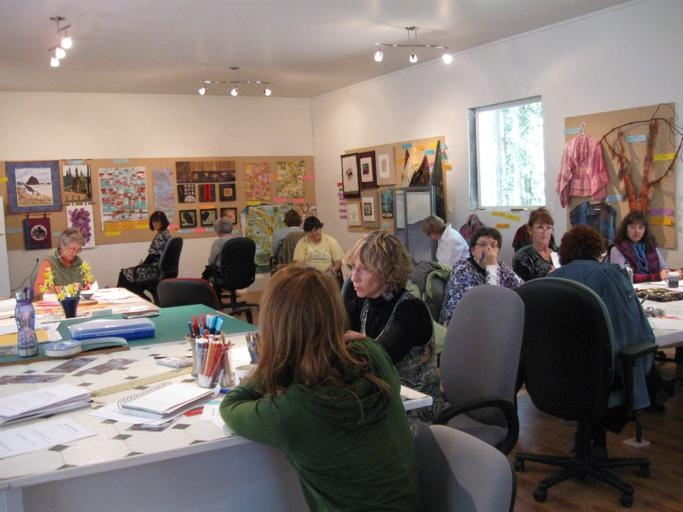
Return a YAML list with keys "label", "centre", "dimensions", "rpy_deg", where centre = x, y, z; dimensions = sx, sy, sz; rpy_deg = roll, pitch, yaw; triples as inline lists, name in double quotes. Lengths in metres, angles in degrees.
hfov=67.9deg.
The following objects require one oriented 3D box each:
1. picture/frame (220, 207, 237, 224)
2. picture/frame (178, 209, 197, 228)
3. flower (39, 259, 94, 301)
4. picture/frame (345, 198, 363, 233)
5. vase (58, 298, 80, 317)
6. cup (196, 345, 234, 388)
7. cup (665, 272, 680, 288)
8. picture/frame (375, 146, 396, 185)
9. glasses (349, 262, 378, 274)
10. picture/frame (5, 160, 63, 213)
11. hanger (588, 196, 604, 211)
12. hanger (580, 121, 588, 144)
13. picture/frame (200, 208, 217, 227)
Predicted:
- label: "picture/frame"
  centre: [-1.805, -0.643, 8.088]
  dimensions: [0.373, 0.370, 0.024]
  rpy_deg: [0, 3, -27]
- label: "picture/frame"
  centre: [-2.492, -0.608, 8.195]
  dimensions: [0.285, 0.305, 0.031]
  rpy_deg: [-4, 7, -31]
- label: "flower"
  centre: [-2.177, 0.199, 4.007]
  dimensions: [0.315, 0.245, 0.159]
  rpy_deg: [-5, 2, -43]
- label: "picture/frame"
  centre: [0.215, -0.663, 8.181]
  dimensions: [0.096, 0.643, 0.564]
  rpy_deg: [-3, 2, -31]
- label: "vase"
  centre: [-1.664, 0.315, 3.152]
  dimensions: [0.115, 0.126, 0.124]
  rpy_deg: [1, 0, -2]
- label: "cup"
  centre: [-0.472, 0.416, 1.893]
  dimensions: [0.160, 0.160, 0.101]
  rpy_deg: [2, 0, 1]
- label: "cup"
  centre: [2.489, 0.194, 3.853]
  dimensions: [0.124, 0.124, 0.082]
  rpy_deg: [-1, -1, 31]
- label: "picture/frame"
  centre: [0.649, -1.326, 7.469]
  dimensions: [0.089, 0.576, 0.425]
  rpy_deg: [-6, 13, -31]
- label: "glasses"
  centre: [0.107, 0.066, 2.217]
  dimensions: [0.080, 0.041, 0.059]
  rpy_deg: [-2, 9, -23]
- label: "picture/frame"
  centre: [-4.457, -1.002, 7.310]
  dimensions: [0.768, 0.830, 0.062]
  rpy_deg: [-4, 3, -33]
- label: "hanger"
  centre: [2.570, -0.527, 5.121]
  dimensions: [0.130, 0.090, 0.170]
  rpy_deg: [-4, 8, 20]
- label: "hanger"
  centre: [2.473, -1.290, 5.189]
  dimensions: [0.039, 0.149, 0.088]
  rpy_deg: [0, 11, -4]
- label: "picture/frame"
  centre: [-2.169, -0.621, 8.258]
  dimensions: [0.376, 0.399, 0.028]
  rpy_deg: [-1, 10, -28]
